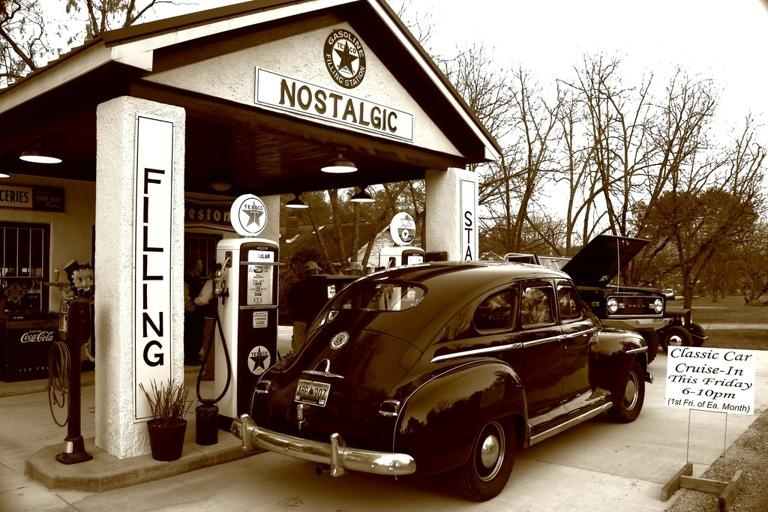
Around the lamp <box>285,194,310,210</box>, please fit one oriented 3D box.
[{"bbox_3d":[-2.055,-1.329,14.951,0.703,0.393,0.722,3,3,23],"label":"lamp"}]

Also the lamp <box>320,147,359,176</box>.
[{"bbox_3d":[-0.762,-1.683,11.065,0.529,0.380,0.597,1,1,-6],"label":"lamp"}]
